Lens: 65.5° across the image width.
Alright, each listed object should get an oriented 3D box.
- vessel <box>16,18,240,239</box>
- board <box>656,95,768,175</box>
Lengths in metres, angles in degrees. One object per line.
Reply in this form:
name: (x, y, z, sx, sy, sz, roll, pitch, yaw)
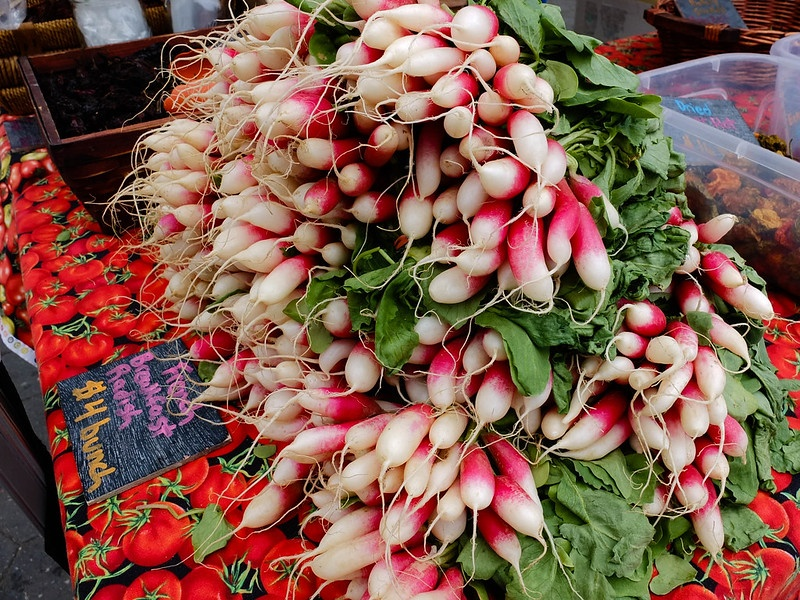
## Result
vessel: (-1.409, -0.799, 3.200, 0.869, 0.550, 1.306, -14, 38, -14)
board: (1.385, -0.757, 2.967, 0.443, 0.105, 0.452, 20, 47, -7)
